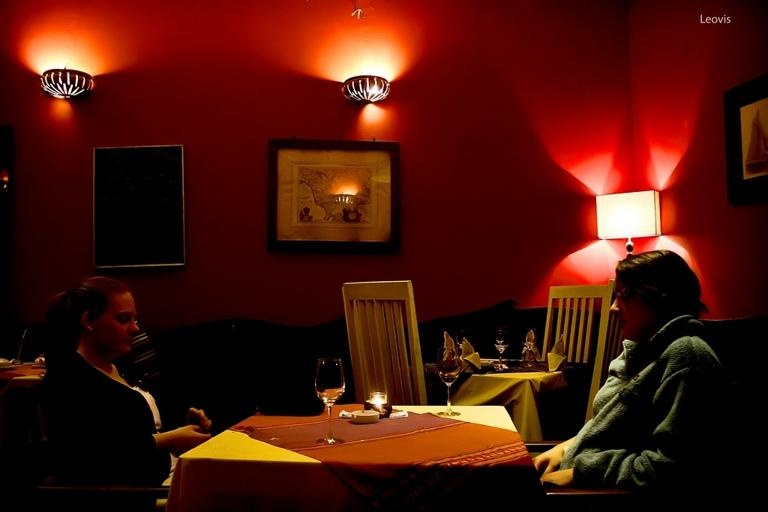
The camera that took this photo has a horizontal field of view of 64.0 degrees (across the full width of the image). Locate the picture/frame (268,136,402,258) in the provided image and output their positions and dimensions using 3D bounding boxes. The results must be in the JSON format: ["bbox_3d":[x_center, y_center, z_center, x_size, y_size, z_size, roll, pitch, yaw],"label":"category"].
[{"bbox_3d":[-0.462,-0.477,5.288,1.107,0.888,0.091,0,-5,-3],"label":"picture/frame"}]

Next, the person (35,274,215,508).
[{"bbox_3d":[-1.341,0.815,3.138,0.826,1.346,0.693,5,-12,-26],"label":"person"}]

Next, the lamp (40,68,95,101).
[{"bbox_3d":[-2.653,-1.440,5.127,0.311,0.125,0.292,-3,6,-39],"label":"lamp"}]

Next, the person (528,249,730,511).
[{"bbox_3d":[1.170,0.638,3.462,1.029,1.412,1.299,4,-12,13],"label":"person"}]

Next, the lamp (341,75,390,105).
[{"bbox_3d":[-0.141,-1.454,5.302,0.430,0.226,0.206,-1,-4,-4],"label":"lamp"}]

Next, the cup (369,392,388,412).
[{"bbox_3d":[-0.019,0.733,3.106,0.071,0.071,0.068,1,-7,0],"label":"cup"}]

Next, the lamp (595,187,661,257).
[{"bbox_3d":[2.105,-0.299,5.285,0.674,0.754,0.230,0,0,24],"label":"lamp"}]
